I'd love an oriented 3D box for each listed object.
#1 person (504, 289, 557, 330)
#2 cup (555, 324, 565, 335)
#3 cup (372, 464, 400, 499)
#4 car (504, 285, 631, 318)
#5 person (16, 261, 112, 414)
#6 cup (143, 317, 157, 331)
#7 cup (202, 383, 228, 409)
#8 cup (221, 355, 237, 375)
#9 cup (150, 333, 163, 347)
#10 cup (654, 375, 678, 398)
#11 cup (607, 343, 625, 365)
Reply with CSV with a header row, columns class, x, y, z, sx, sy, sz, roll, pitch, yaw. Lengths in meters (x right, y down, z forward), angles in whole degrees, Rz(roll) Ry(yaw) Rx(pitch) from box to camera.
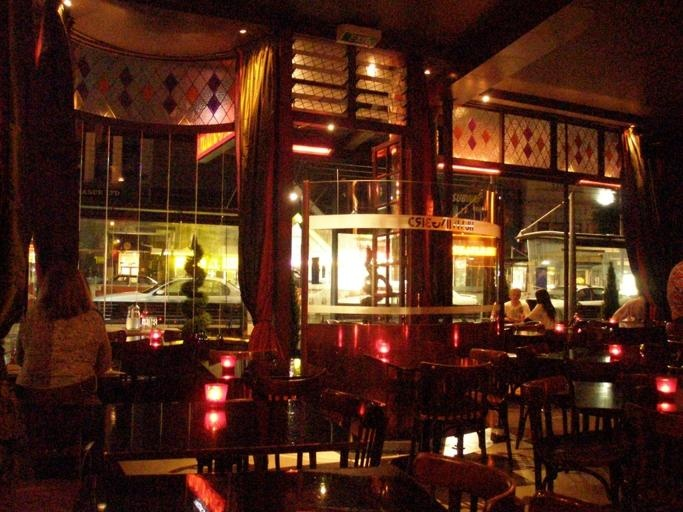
class,x,y,z,sx,sy,sz,roll,pitch,yaw
person,2.779,0.785,10.498,0.819,0.412,0.509,8,-9,-40
cup,2.649,0.894,8.729,0.105,0.088,0.112,0,-4,0
cup,0.251,1.298,4.151,0.106,0.216,0.115,4,3,0
car,3.893,1.007,12.238,1.859,0.692,0.901,6,-5,-23
person,-2.191,0.635,5.634,0.768,1.385,0.917,1,1,-7
cup,-2.330,0.823,8.713,0.154,0.172,0.166,1,0,0
cup,-0.919,1.013,5.203,0.156,0.125,0.154,1,-3,0
cup,-0.958,0.941,6.198,0.130,0.157,0.140,0,-4,0
cup,-1.962,0.891,7.621,0.139,0.180,0.147,3,2,0
cup,2.422,0.976,5.377,0.139,0.123,0.144,1,-9,0
cup,2.546,0.906,6.654,0.148,0.190,0.158,-1,0,0
